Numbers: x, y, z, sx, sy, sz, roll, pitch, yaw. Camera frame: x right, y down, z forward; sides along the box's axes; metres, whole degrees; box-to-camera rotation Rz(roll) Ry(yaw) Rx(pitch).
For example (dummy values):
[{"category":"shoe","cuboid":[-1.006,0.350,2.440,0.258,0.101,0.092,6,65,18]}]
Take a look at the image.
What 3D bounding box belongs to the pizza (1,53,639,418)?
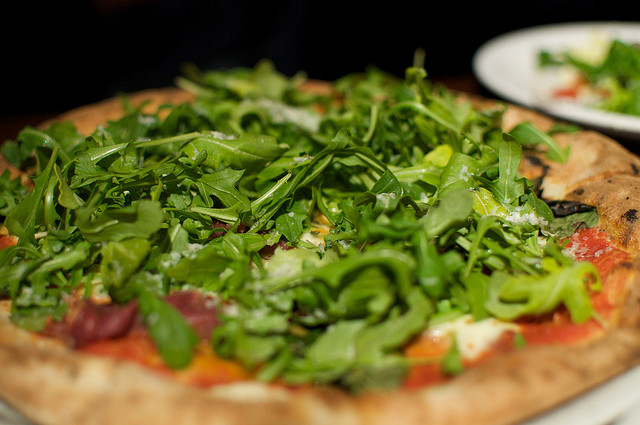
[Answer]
[{"category":"pizza","cuboid":[0.033,-0.001,1.418,1.643,0.387,1.059,-4,50,-4]}]
